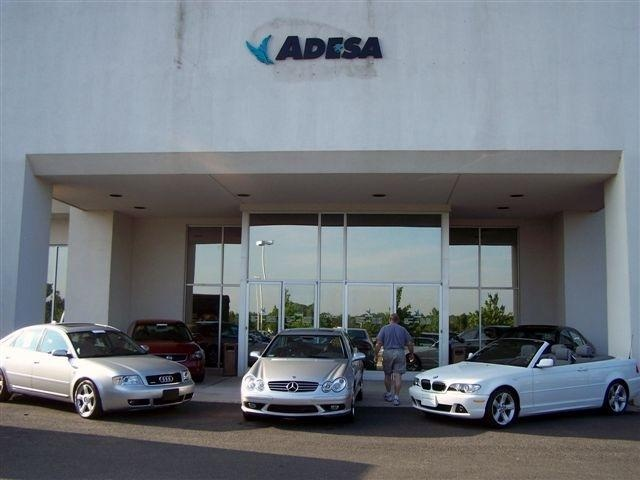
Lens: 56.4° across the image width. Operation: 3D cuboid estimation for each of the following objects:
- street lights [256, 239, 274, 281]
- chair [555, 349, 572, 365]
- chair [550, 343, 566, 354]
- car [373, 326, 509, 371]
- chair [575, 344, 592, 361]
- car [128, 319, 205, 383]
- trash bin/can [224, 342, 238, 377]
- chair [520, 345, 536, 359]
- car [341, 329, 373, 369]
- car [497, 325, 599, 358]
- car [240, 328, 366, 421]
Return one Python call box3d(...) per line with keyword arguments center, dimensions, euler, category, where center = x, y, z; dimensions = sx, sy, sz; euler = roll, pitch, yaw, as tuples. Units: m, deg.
box3d(center=(-1.771, 0.613, 19.047), dimensions=(0.512, 1.238, 0.292), euler=(0, 5, -8), category="street lights")
box3d(center=(5.039, 2.447, 12.490), dimensions=(0.268, 0.371, 0.358), euler=(-6, -37, 17), category="chair")
box3d(center=(4.991, 2.285, 12.566), dimensions=(0.206, 0.180, 0.205), euler=(2, -2, -31), category="chair")
box3d(center=(4.159, 3.728, 19.101), dimensions=(4.037, 1.273, 1.774), euler=(-1, -4, -6), category="car")
box3d(center=(5.731, 2.482, 13.046), dimensions=(0.320, 0.416, 0.448), euler=(4, -9, 14), category="chair")
box3d(center=(-4.022, 2.885, 15.550), dimensions=(1.367, 1.133, 3.300), euler=(2, -10, -12), category="car")
box3d(center=(-2.797, 3.759, 18.757), dimensions=(0.409, 0.887, 0.455), euler=(0, 5, -3), category="trash bin/can")
box3d(center=(4.400, 2.367, 12.708), dimensions=(0.274, 0.277, 0.232), euler=(-9, -14, 42), category="chair")
box3d(center=(0.942, 2.800, 15.553), dimensions=(1.192, 0.949, 2.791), euler=(-1, -13, 5), category="car")
box3d(center=(6.032, 2.898, 15.885), dimensions=(1.905, 0.852, 1.129), euler=(0, 1, 5), category="car")
box3d(center=(-0.331, 2.912, 12.435), dimensions=(2.150, 1.487, 2.336), euler=(1, 4, 11), category="car")
